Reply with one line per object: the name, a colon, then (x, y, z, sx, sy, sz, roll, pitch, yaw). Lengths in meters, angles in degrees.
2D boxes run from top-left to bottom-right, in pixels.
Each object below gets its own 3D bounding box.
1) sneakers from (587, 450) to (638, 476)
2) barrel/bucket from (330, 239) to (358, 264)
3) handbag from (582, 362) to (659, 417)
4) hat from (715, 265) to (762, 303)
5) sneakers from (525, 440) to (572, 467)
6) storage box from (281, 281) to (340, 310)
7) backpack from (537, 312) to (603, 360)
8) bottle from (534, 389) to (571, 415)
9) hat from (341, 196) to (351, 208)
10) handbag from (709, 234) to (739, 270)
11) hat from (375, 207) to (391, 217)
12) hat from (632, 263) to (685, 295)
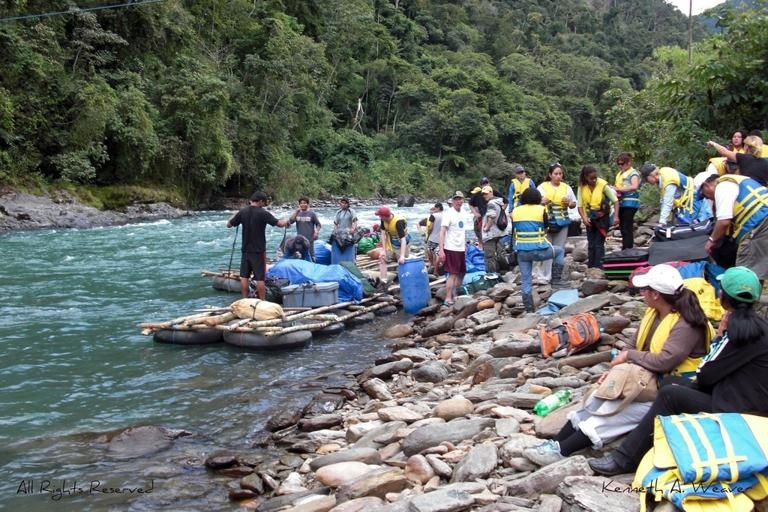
sneakers: (2.384, 2.182, 5.907, 0.581, 0.212, 0.202, 1, 0, 3)
barrel/bucket: (-1.053, -0.044, 14.482, 0.823, 0.911, 0.539, 1, 14, -2)
handbag: (2.565, 1.432, 6.236, 0.994, 0.324, 0.622, -11, -6, -9)
hat: (3.678, 0.288, 5.840, 0.345, 0.217, 0.426, 0, 23, 5)
sneakers: (1.792, 2.173, 6.160, 0.420, 0.194, 0.160, -10, -35, 8)
storage box: (-1.578, 0.851, 12.032, 0.859, 0.324, 0.627, -2, 0, 6)
backpack: (2.769, 1.172, 8.346, 0.901, 0.569, 0.331, -10, -24, 17)
bottle: (2.137, 1.846, 6.983, 0.507, 0.255, 0.175, -6, 9, -17)
hat: (-0.975, -1.387, 14.276, 0.342, 0.343, 0.384, -1, -3, 2)
handbag: (4.972, -0.072, 8.194, 0.551, 0.585, 0.381, 2, 12, 33)
hat: (-0.038, -1.033, 13.340, 0.342, 0.185, 0.215, 16, 44, 13)
hat: (3.024, 0.257, 6.229, 0.509, 0.296, 0.286, 0, 9, 23)
